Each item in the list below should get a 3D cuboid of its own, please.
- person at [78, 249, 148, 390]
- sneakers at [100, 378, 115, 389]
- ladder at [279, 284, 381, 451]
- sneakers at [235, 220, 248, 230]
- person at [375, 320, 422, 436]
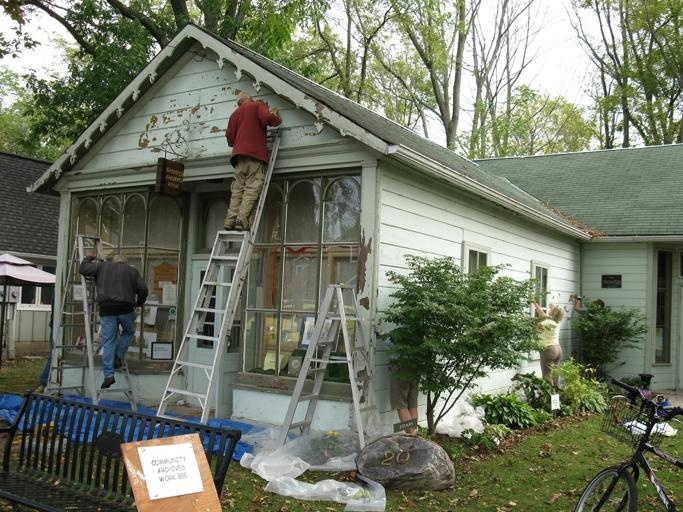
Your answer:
[{"bbox_3d":[-3.770,1.035,10.258,0.959,2.113,0.804,2,-7,25],"label":"person"},{"bbox_3d":[-3.695,2.017,9.861,0.132,0.170,0.393,21,-29,-35],"label":"sneakers"},{"bbox_3d":[-0.140,1.484,8.808,1.268,2.200,1.195,2,-7,19],"label":"ladder"},{"bbox_3d":[-1.475,-0.453,9.200,0.233,0.153,0.118,-1,-8,41],"label":"sneakers"},{"bbox_3d":[0.799,1.736,9.148,0.673,1.603,0.975,4,-6,7],"label":"person"}]
